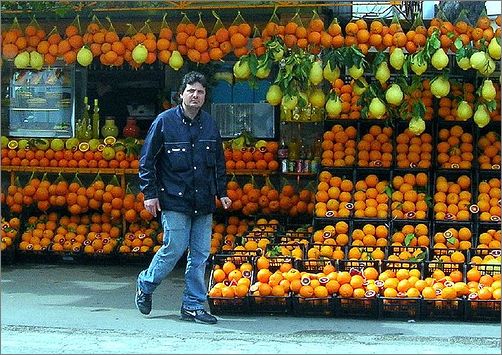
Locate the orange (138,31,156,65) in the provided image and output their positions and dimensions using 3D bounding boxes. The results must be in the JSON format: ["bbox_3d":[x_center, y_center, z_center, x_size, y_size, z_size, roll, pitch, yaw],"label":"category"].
[{"bbox_3d":[-1.281,-1.621,8.639,0.185,0.345,0.183,2,11,11],"label":"orange"}]

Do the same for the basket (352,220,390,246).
[{"bbox_3d":[1.513,0.624,8.409,0.427,0.159,0.429,12,14,37],"label":"basket"}]

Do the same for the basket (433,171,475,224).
[{"bbox_3d":[2.474,0.321,8.457,0.525,0.247,0.861,-2,39,26],"label":"basket"}]

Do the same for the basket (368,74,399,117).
[{"bbox_3d":[1.668,-0.944,8.576,0.413,0.427,0.798,1,3,10],"label":"basket"}]

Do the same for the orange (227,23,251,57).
[{"bbox_3d":[-0.130,-1.655,8.484,0.228,0.290,0.376,15,-12,-5],"label":"orange"}]

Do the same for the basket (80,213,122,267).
[{"bbox_3d":[-2.073,0.846,9.609,0.508,0.631,0.559,0,3,-7],"label":"basket"}]

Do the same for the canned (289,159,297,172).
[{"bbox_3d":[0.580,-0.155,9.840,0.135,0.237,0.136,-1,3,1],"label":"canned"}]

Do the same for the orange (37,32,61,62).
[{"bbox_3d":[-2.513,-1.621,8.709,0.153,0.261,0.368,40,14,-25],"label":"orange"}]

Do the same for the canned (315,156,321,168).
[{"bbox_3d":[0.914,-0.222,9.558,0.089,0.124,0.044,7,4,23],"label":"canned"}]

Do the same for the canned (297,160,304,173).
[{"bbox_3d":[0.679,-0.157,9.672,0.132,0.215,0.134,0,4,6],"label":"canned"}]

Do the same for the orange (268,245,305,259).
[{"bbox_3d":[0.388,0.856,7.974,0.460,0.133,0.272,0,4,-10],"label":"orange"}]

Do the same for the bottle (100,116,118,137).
[{"bbox_3d":[-2.147,-0.753,10.448,0.241,0.317,0.332,0,3,-14],"label":"bottle"}]

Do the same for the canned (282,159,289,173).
[{"bbox_3d":[0.480,-0.163,9.723,0.091,0.182,0.086,1,3,2],"label":"canned"}]

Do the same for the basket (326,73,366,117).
[{"bbox_3d":[1.213,-1.031,9.153,0.402,0.523,0.417,0,3,-12],"label":"basket"}]

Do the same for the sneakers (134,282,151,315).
[{"bbox_3d":[-1.125,1.268,7.112,0.138,0.374,0.141,1,-14,-37],"label":"sneakers"}]

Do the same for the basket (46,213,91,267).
[{"bbox_3d":[-2.530,0.945,9.553,0.432,0.249,0.751,-6,19,-9],"label":"basket"}]

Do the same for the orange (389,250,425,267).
[{"bbox_3d":[1.726,0.902,7.723,0.204,0.099,0.276,-17,12,-9],"label":"orange"}]

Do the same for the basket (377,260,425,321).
[{"bbox_3d":[1.578,1.216,7.310,0.429,0.463,0.548,1,3,14],"label":"basket"}]

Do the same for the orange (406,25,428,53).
[{"bbox_3d":[1.936,-1.604,8.113,0.212,0.156,0.318,-21,25,27],"label":"orange"}]

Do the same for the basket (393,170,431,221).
[{"bbox_3d":[1.950,0.270,8.539,0.467,0.758,0.215,2,-37,19],"label":"basket"}]

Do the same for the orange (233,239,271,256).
[{"bbox_3d":[0.035,0.819,8.303,0.264,0.108,0.182,0,23,22],"label":"orange"}]

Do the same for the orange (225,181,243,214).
[{"bbox_3d":[-0.228,0.260,9.493,0.198,0.391,0.211,-9,-26,0],"label":"orange"}]

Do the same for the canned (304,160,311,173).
[{"bbox_3d":[0.777,-0.159,9.667,0.104,0.163,0.038,1,3,11],"label":"canned"}]

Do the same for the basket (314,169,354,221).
[{"bbox_3d":[1.033,0.203,8.592,0.476,0.539,0.455,1,3,7],"label":"basket"}]

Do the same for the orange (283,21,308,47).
[{"bbox_3d":[0.517,-1.671,8.195,0.229,0.148,0.303,-35,58,-18],"label":"orange"}]

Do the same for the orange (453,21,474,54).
[{"bbox_3d":[2.455,-1.625,8.037,0.207,0.352,0.149,9,-4,9],"label":"orange"}]

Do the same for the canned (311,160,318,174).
[{"bbox_3d":[0.870,-0.155,9.516,0.140,0.247,0.142,0,0,2],"label":"canned"}]

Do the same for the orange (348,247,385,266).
[{"bbox_3d":[1.326,0.883,7.904,0.283,0.101,0.199,1,34,7],"label":"orange"}]

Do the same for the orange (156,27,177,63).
[{"bbox_3d":[-1.053,-1.653,8.654,0.194,0.425,0.235,12,-22,-38],"label":"orange"}]

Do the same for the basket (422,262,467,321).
[{"bbox_3d":[2.041,1.266,7.363,0.445,0.252,0.750,-4,-3,19],"label":"basket"}]

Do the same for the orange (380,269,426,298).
[{"bbox_3d":[1.590,1.102,7.246,0.308,0.115,0.309,-1,26,3],"label":"orange"}]

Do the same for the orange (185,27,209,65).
[{"bbox_3d":[-0.656,-1.626,8.482,0.291,0.421,0.184,0,3,-7],"label":"orange"}]

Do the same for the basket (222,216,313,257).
[{"bbox_3d":[0.246,0.743,8.555,0.703,0.219,0.525,0,14,14],"label":"basket"}]

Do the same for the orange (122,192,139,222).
[{"bbox_3d":[-1.682,0.417,9.673,0.203,0.360,0.165,-11,-9,19],"label":"orange"}]

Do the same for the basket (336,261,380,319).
[{"bbox_3d":[1.137,1.191,7.366,0.455,0.503,0.562,1,3,9],"label":"basket"}]

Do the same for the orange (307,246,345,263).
[{"bbox_3d":[0.846,0.860,7.951,0.273,0.119,0.191,0,8,4],"label":"orange"}]

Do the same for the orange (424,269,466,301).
[{"bbox_3d":[1.985,1.130,7.188,0.306,0.131,0.310,-1,18,11],"label":"orange"}]

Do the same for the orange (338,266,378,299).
[{"bbox_3d":[1.114,1.076,7.187,0.295,0.121,0.306,-6,11,21],"label":"orange"}]

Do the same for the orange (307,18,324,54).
[{"bbox_3d":[0.759,-1.675,8.238,0.185,0.410,0.135,1,3,5],"label":"orange"}]

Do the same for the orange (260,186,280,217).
[{"bbox_3d":[0.234,0.311,9.401,0.150,0.263,0.351,8,40,-46],"label":"orange"}]

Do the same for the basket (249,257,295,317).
[{"bbox_3d":[0.204,1.163,7.428,0.449,0.532,0.498,1,3,1],"label":"basket"}]

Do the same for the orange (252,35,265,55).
[{"bbox_3d":[0.092,-1.569,8.230,0.175,0.213,0.185,-1,2,10],"label":"orange"}]

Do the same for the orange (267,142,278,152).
[{"bbox_3d":[0.298,-0.424,9.755,0.129,0.125,0.155,27,11,6],"label":"orange"}]

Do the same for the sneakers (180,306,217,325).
[{"bbox_3d":[-0.545,1.400,7.106,0.405,0.194,0.145,3,1,6],"label":"sneakers"}]

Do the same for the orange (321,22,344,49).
[{"bbox_3d":[0.966,-1.676,8.195,0.239,0.314,0.183,3,4,36],"label":"orange"}]

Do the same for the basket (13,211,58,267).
[{"bbox_3d":[-2.970,0.848,9.684,0.500,0.293,0.919,1,29,-14],"label":"basket"}]

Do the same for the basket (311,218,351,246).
[{"bbox_3d":[0.946,0.654,8.243,0.440,0.256,0.322,1,3,4],"label":"basket"}]

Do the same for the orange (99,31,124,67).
[{"bbox_3d":[-1.732,-1.618,8.648,0.321,0.423,0.198,1,3,5],"label":"orange"}]

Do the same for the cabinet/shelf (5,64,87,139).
[{"bbox_3d":[-3.149,-1.159,10.757,1.149,1.130,0.411,1,-2,4],"label":"cabinet/shelf"}]

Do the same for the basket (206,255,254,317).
[{"bbox_3d":[-0.207,1.126,7.452,0.486,0.274,0.646,-3,35,15],"label":"basket"}]

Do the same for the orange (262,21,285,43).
[{"bbox_3d":[0.251,-1.702,8.178,0.215,0.250,0.214,13,21,39],"label":"orange"}]

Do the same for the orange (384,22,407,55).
[{"bbox_3d":[1.691,-1.633,8.160,0.226,0.346,0.187,7,-23,4],"label":"orange"}]

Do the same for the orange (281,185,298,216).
[{"bbox_3d":[0.510,0.306,9.440,0.229,0.394,0.186,1,3,1],"label":"orange"}]

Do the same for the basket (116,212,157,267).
[{"bbox_3d":[-1.521,0.853,9.603,0.426,0.221,0.677,1,36,3],"label":"basket"}]

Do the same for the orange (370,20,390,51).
[{"bbox_3d":[1.514,-1.669,8.184,0.227,0.327,0.152,1,3,10],"label":"orange"}]
